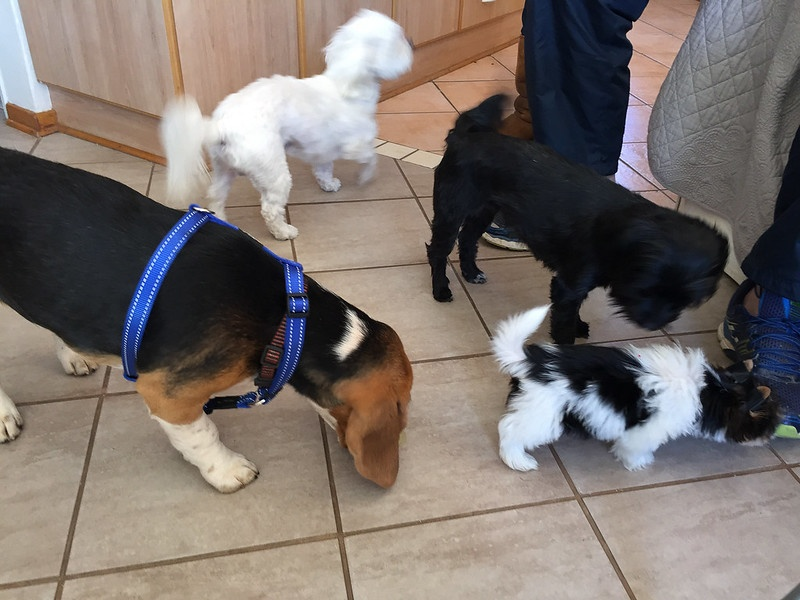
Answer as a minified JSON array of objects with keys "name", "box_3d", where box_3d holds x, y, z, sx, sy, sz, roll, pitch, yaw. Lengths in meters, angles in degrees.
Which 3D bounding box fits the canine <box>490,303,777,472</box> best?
[{"name":"canine","box_3d":[0.736,0.281,2.054,0.872,0.537,0.301,-3,46,0]}]

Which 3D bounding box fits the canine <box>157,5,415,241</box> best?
[{"name":"canine","box_3d":[-0.472,-0.760,2.920,0.428,0.762,1.360,28,41,29]}]
